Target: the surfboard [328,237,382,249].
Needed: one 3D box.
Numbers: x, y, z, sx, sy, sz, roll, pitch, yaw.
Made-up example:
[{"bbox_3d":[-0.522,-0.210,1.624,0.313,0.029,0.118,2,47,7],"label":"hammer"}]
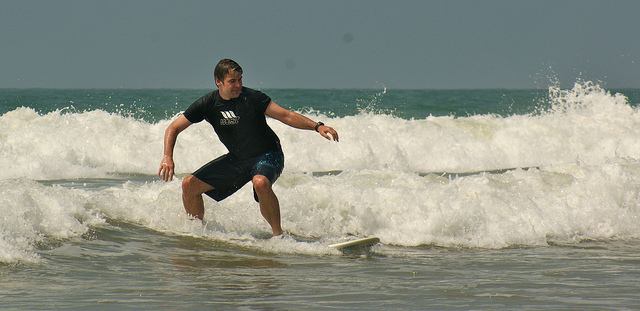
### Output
[{"bbox_3d":[0.989,2.181,24.578,1.618,0.335,0.164,-5,51,-7],"label":"surfboard"}]
